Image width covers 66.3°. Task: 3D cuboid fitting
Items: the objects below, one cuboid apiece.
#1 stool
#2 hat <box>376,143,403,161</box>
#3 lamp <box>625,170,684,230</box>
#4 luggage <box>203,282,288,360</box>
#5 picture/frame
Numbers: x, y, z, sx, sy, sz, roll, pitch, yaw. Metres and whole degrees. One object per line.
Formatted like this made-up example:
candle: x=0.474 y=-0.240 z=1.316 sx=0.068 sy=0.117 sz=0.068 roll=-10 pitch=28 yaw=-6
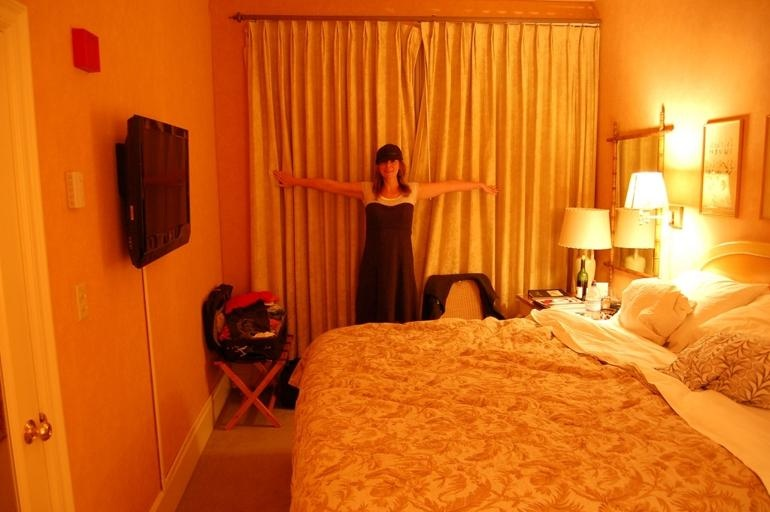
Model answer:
stool: x=-1.144 y=1.088 z=5.115 sx=0.644 sy=0.589 sz=0.766 roll=1 pitch=5 yaw=-6
hat: x=0.030 y=-0.883 z=5.050 sx=0.215 sy=0.159 sz=0.153 roll=-2 pitch=8 yaw=-1
lamp: x=1.983 y=-0.442 z=4.606 sx=0.436 sy=0.490 sz=0.358 roll=0 pitch=6 yaw=2
luggage: x=-1.198 y=0.519 z=5.005 sx=0.558 sy=0.274 sz=0.731 roll=-10 pitch=36 yaw=-37
picture/frame: x=2.314 y=-0.623 z=4.067 sx=0.071 sy=0.667 sz=0.333 roll=-5 pitch=9 yaw=-17
